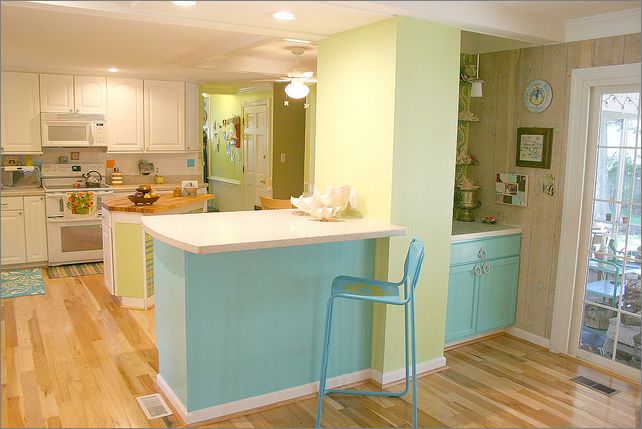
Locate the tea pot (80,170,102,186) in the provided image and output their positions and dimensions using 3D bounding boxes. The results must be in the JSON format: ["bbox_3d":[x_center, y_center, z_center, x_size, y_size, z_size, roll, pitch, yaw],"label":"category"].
[{"bbox_3d":[-3.615,-0.575,7.184,0.240,0.319,0.337,12,8,17],"label":"tea pot"}]

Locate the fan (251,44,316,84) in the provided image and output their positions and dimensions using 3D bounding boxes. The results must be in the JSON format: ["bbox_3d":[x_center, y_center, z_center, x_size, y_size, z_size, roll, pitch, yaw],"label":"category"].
[{"bbox_3d":[-0.442,-1.913,5.562,0.829,0.309,0.806,0,3,-30],"label":"fan"}]

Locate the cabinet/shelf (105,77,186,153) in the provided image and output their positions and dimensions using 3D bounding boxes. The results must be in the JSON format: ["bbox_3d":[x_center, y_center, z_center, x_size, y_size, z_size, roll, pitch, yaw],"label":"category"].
[{"bbox_3d":[-2.863,-1.651,7.192,1.256,1.099,0.515,-2,7,-27],"label":"cabinet/shelf"}]

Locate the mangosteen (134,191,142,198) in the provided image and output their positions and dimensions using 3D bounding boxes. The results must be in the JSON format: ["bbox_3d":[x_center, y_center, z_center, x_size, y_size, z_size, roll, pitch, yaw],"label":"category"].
[{"bbox_3d":[-2.167,-0.244,5.354,0.082,0.045,0.079,2,19,-5],"label":"mangosteen"}]

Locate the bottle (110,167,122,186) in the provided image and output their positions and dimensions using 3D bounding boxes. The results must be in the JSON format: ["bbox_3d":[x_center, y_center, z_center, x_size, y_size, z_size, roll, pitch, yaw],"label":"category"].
[{"bbox_3d":[-3.375,-0.636,7.398,0.194,0.303,0.230,-6,9,-20],"label":"bottle"}]

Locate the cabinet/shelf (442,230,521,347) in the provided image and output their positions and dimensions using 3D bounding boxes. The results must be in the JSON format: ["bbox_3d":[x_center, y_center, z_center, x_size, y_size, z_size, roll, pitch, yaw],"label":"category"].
[{"bbox_3d":[1.485,0.751,4.915,1.296,1.131,0.735,-4,8,-27],"label":"cabinet/shelf"}]

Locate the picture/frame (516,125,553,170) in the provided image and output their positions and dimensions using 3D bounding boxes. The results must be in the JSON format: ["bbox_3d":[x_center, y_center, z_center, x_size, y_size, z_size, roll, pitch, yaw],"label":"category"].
[{"bbox_3d":[2.270,-0.714,4.702,0.059,0.552,0.464,-4,9,-35],"label":"picture/frame"}]

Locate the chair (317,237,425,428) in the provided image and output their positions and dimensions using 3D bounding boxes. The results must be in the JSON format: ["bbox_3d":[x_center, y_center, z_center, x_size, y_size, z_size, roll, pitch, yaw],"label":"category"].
[{"bbox_3d":[0.425,0.936,3.741,0.864,1.570,0.889,-1,9,12],"label":"chair"}]

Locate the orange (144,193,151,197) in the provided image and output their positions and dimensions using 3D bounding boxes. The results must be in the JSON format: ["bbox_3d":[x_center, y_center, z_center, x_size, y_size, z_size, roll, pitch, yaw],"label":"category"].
[{"bbox_3d":[-2.061,-0.222,5.323,0.071,0.051,0.058,-5,9,-20],"label":"orange"}]

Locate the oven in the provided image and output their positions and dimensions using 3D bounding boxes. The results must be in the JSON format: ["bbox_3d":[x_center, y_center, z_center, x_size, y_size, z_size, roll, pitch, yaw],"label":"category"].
[{"bbox_3d":[-3.721,0.180,7.115,1.106,1.402,1.017,-2,4,-32],"label":"oven"}]
